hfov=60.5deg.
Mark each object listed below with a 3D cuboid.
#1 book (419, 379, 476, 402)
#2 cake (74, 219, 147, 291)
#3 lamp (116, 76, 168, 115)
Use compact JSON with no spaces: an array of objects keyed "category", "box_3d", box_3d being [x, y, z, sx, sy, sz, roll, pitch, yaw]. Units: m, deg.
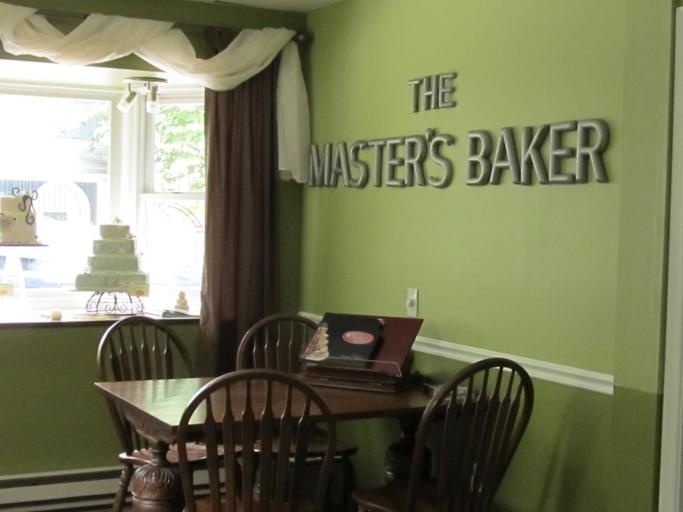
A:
[{"category":"book","box_3d":[0.416,0.531,2.298,0.168,0.049,0.173,0,-3,-7]},{"category":"cake","box_3d":[-1.342,0.009,3.495,0.436,0.436,0.362,2,5,-14]},{"category":"lamp","box_3d":[-1.289,-1.056,3.772,0.283,0.197,0.267,-1,3,-36]}]
